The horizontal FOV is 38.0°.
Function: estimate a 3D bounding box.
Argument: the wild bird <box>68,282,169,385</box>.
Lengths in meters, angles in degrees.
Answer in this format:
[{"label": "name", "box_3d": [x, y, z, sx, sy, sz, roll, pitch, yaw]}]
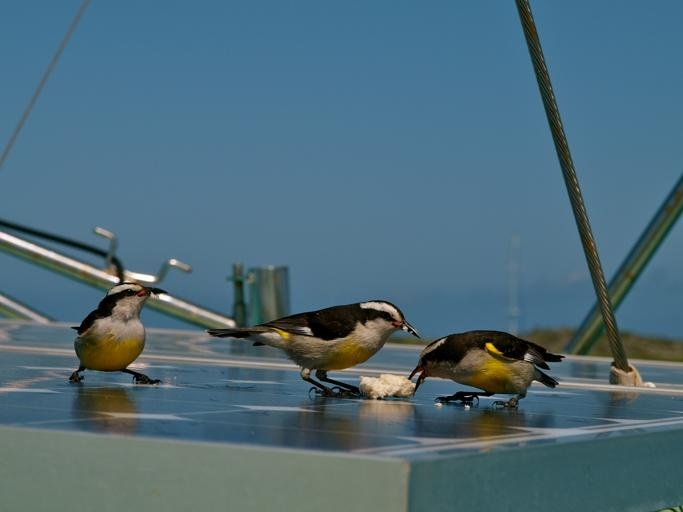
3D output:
[{"label": "wild bird", "box_3d": [-0.674, 0.229, 2.918, 0.264, 0.296, 0.246, 3, -12, -6]}]

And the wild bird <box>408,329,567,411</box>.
[{"label": "wild bird", "box_3d": [0.414, 0.309, 2.775, 0.470, 0.188, 0.232, 0, -13, -19]}]

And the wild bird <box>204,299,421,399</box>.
[{"label": "wild bird", "box_3d": [-0.078, 0.254, 2.880, 0.647, 0.251, 0.223, 2, -7, 22]}]
